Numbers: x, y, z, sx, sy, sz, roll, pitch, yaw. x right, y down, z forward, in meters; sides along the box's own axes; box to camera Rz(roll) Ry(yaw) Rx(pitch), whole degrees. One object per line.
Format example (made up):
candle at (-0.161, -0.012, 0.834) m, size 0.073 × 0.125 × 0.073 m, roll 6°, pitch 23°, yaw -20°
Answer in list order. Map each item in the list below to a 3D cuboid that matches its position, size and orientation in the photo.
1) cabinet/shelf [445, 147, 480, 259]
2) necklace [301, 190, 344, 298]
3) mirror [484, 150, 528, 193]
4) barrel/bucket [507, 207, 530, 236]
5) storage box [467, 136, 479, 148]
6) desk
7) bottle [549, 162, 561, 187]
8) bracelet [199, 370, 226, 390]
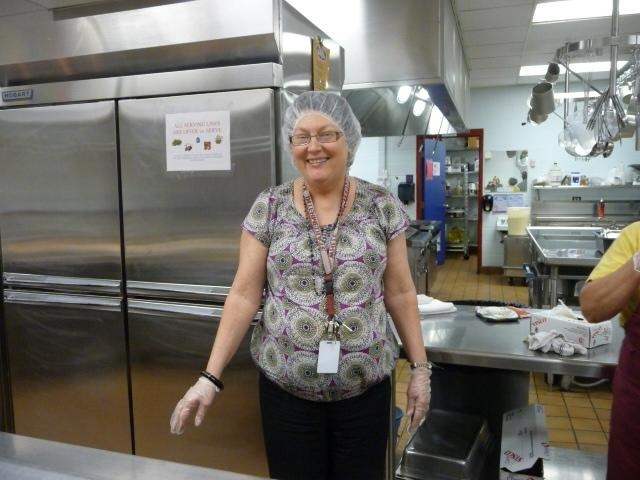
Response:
cabinet/shelf at (3.085, -0.903, 10.057) m, size 0.705 × 2.535 × 0.567 m, roll 2°, pitch 9°, yaw 18°
necklace at (0.012, 0.000, 1.609) m, size 0.102 × 0.341 × 0.192 m, roll -4°, pitch 10°, yaw -22°
mirror at (3.546, -1.304, 8.703) m, size 0.751 × 0.799 × 0.057 m, roll 2°, pitch -1°, yaw 15°
barrel/bucket at (3.361, -0.313, 7.816) m, size 0.340 × 0.458 × 0.334 m, roll 0°, pitch 9°, yaw 0°
storage box at (3.209, -2.034, 9.678) m, size 0.208 × 0.232 × 0.304 m, roll 2°, pitch 10°, yaw 12°
desk at (0.889, 0.755, 2.262) m, size 1.050 × 0.543 × 0.743 m, roll 2°, pitch 7°, yaw 20°
bottle at (4.241, -1.190, 8.296) m, size 0.222 × 0.394 × 0.469 m, roll 4°, pitch 11°, yaw 27°
bracelet at (-0.368, 0.500, 1.627) m, size 0.023 × 0.085 × 0.084 m, roll -47°, pitch 27°, yaw -21°
